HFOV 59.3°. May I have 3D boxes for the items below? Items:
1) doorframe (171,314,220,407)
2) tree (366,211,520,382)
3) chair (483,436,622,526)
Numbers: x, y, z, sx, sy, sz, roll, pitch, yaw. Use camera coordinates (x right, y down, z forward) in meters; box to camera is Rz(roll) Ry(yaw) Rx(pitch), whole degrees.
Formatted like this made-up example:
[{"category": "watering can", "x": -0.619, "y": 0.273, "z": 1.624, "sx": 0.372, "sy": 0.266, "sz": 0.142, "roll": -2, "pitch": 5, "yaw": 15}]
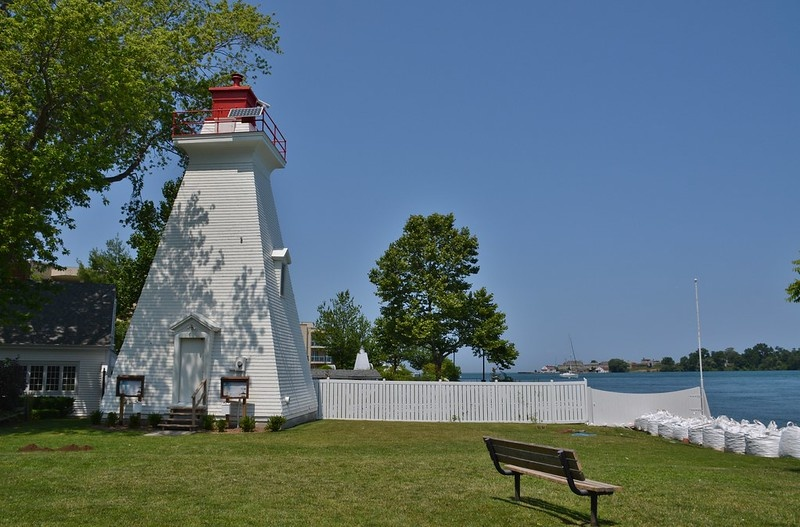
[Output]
[{"category": "doorframe", "x": -10.507, "y": 4.886, "z": 35.455, "sx": 2.191, "sy": 4.622, "sz": 0.721, "roll": -4, "pitch": -13, "yaw": 10}, {"category": "tree", "x": 3.008, "y": 2.498, "z": 59.526, "sx": 9.961, "sy": 14.180, "sz": 4.082, "roll": -2, "pitch": -13, "yaw": -2}, {"category": "chair", "x": 4.688, "y": 6.833, "z": 22.066, "sx": 1.277, "sy": 2.611, "sz": 3.689, "roll": 8, "pitch": -16, "yaw": -39}]
